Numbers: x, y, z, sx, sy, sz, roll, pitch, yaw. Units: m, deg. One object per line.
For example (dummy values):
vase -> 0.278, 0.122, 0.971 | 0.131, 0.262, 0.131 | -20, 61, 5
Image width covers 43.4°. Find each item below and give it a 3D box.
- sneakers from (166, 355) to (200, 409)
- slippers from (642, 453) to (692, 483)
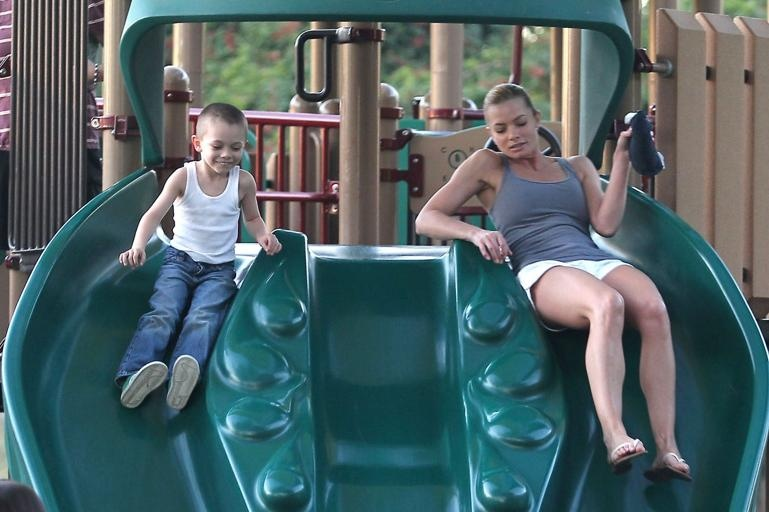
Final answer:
sneakers -> -0.750, 0.466, 3.590 | 0.096, 0.215, 0.076 | 12, -2, -21
slippers -> 1.001, 0.742, 3.414 | 0.158, 0.075, 0.083 | -4, 2, -36
